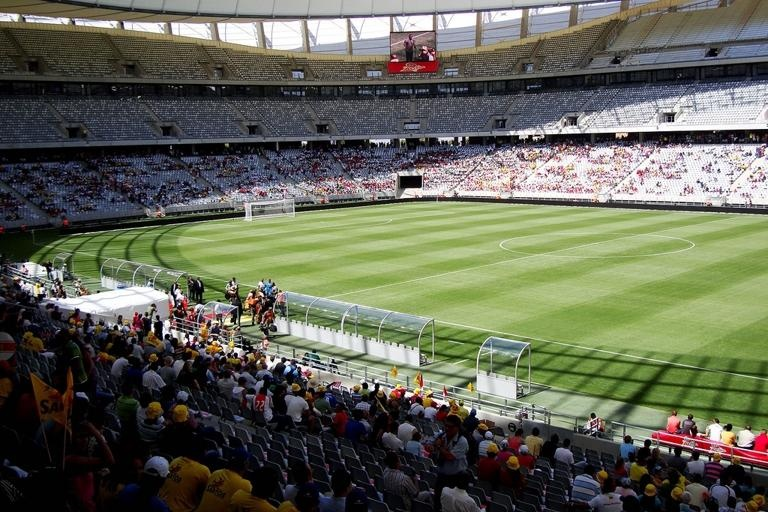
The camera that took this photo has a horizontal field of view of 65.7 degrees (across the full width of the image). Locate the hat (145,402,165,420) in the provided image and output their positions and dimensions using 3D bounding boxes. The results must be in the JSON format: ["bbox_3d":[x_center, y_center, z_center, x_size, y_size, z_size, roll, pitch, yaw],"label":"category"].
[{"bbox_3d":[-4.221,2.821,10.952,0.246,0.342,0.296,0,7,-14],"label":"hat"}]

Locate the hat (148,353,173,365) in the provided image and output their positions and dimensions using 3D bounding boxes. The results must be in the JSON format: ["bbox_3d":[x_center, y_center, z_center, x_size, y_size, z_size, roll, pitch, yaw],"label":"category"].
[{"bbox_3d":[-6.071,2.755,16.155,0.631,0.144,0.450,0,6,-35],"label":"hat"}]

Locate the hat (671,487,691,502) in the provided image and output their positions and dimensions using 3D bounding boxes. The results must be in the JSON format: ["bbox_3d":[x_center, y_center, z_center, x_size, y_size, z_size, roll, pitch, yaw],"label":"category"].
[{"bbox_3d":[5.549,4.450,11.125,0.305,0.269,0.326,2,6,8],"label":"hat"}]

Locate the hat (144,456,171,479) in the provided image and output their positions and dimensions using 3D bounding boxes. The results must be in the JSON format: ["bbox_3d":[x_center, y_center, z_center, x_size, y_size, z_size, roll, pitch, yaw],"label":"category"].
[{"bbox_3d":[-3.418,3.167,8.980,0.300,0.176,0.395,10,-1,-8],"label":"hat"}]

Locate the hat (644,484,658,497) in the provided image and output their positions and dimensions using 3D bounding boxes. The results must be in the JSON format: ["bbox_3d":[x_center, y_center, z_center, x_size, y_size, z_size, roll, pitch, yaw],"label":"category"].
[{"bbox_3d":[4.941,4.271,11.015,0.191,0.246,0.287,3,7,20],"label":"hat"}]
